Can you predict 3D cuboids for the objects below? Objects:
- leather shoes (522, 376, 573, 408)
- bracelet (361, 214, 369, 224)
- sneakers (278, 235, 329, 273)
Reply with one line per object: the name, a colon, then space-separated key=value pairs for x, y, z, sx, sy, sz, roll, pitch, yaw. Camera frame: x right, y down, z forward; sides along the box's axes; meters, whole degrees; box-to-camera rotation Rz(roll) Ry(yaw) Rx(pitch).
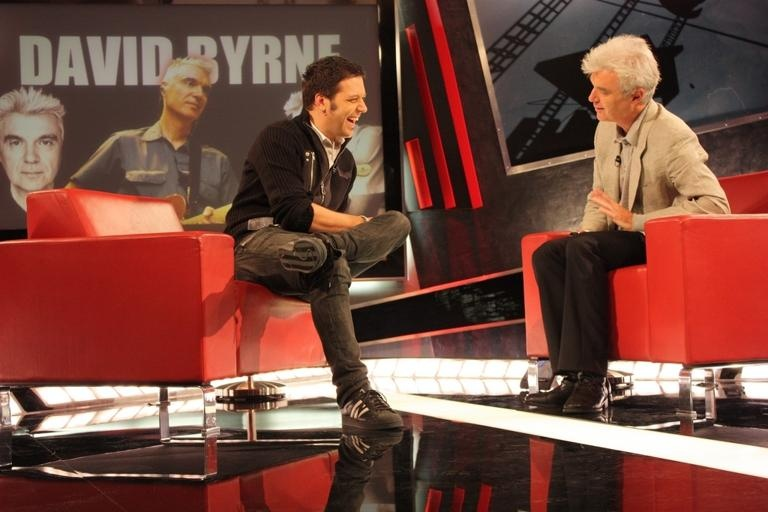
leather shoes: x=0.801 y=0.615 z=3.594 sx=0.311 sy=0.112 sz=0.104 roll=-6 pitch=10 yaw=-14
bracelet: x=-0.084 y=-0.155 z=3.322 sx=0.056 sy=0.031 sz=0.069 roll=2 pitch=1 yaw=-3
sneakers: x=-0.310 y=-0.002 z=2.973 sx=0.178 sy=0.074 sz=0.128 roll=-4 pitch=-27 yaw=1
